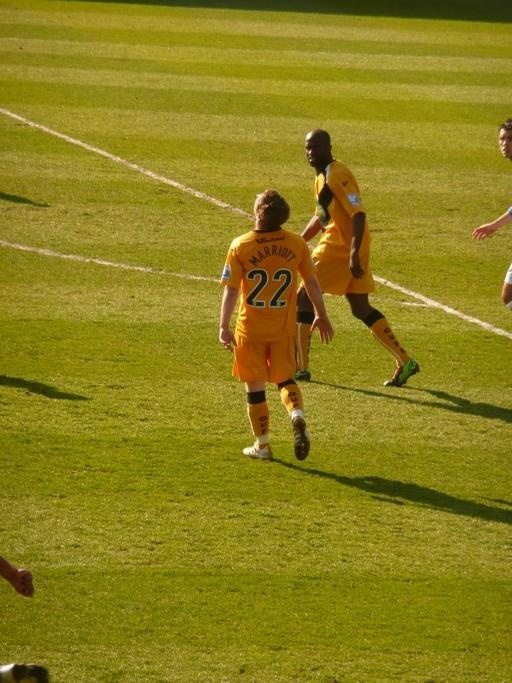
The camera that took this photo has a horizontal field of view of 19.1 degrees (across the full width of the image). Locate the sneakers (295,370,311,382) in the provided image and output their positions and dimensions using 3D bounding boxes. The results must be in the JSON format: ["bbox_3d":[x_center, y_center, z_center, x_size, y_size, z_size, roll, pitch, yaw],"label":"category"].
[{"bbox_3d":[0.334,0.244,10.830,0.117,0.078,0.061,7,16,3],"label":"sneakers"}]

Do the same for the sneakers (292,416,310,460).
[{"bbox_3d":[0.274,0.573,9.195,0.092,0.269,0.120,-7,9,10],"label":"sneakers"}]

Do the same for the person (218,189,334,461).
[{"bbox_3d":[0.104,-0.083,9.313,0.644,1.674,0.671,1,16,2],"label":"person"}]

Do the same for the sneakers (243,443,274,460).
[{"bbox_3d":[0.016,0.682,9.540,0.204,0.105,0.082,6,8,19],"label":"sneakers"}]
